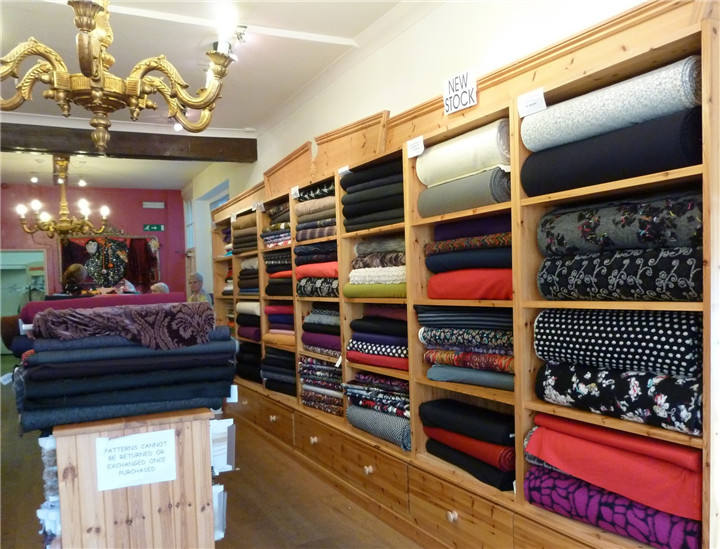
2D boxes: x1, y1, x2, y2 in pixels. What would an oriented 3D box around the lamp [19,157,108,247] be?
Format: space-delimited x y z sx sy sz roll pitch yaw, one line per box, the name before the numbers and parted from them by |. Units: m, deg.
lamp | -4.811 -1.221 8.402 1.312 1.429 1.183 -3 6 -34
